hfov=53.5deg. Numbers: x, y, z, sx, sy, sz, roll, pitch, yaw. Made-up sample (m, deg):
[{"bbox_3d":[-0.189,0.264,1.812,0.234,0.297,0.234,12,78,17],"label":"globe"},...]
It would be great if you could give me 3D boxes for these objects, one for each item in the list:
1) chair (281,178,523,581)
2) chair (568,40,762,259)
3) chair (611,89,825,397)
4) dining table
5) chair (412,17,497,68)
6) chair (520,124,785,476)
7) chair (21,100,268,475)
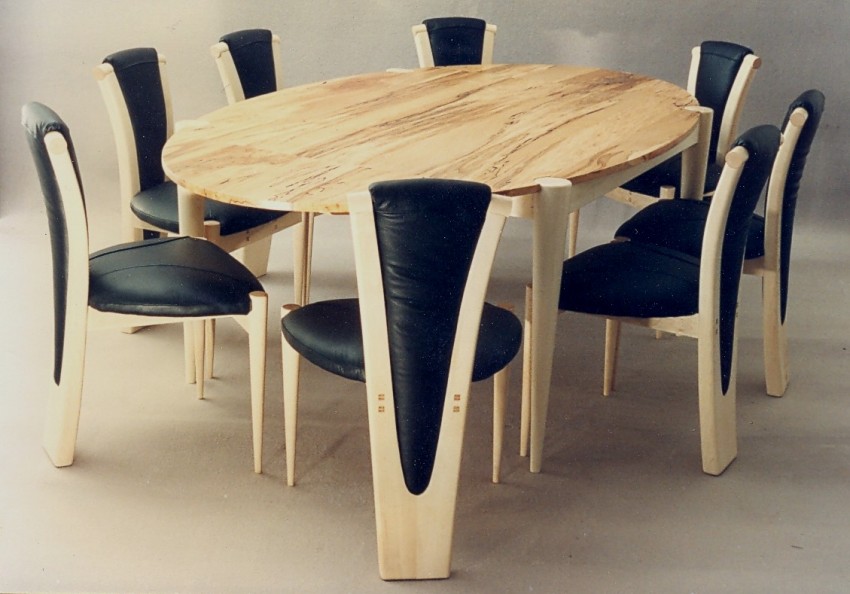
[{"bbox_3d":[-0.068,0.220,2.659,0.740,1.251,0.531,-1,22,6],"label":"chair"},{"bbox_3d":[1.152,-0.656,3.929,0.654,0.975,0.541,-24,34,-31],"label":"chair"},{"bbox_3d":[0.968,-0.131,3.157,0.718,1.145,0.697,15,36,40],"label":"chair"},{"bbox_3d":[0.339,-0.146,3.352,1.321,0.869,1.855,4,20,36],"label":"dining table"},{"bbox_3d":[0.159,-1.344,4.448,0.435,0.242,0.189,-3,21,1],"label":"chair"},{"bbox_3d":[0.866,-0.013,3.032,0.615,1.180,0.826,10,25,31],"label":"chair"},{"bbox_3d":[-1.002,-0.021,3.085,0.765,1.203,0.664,-4,20,-35],"label":"chair"}]
